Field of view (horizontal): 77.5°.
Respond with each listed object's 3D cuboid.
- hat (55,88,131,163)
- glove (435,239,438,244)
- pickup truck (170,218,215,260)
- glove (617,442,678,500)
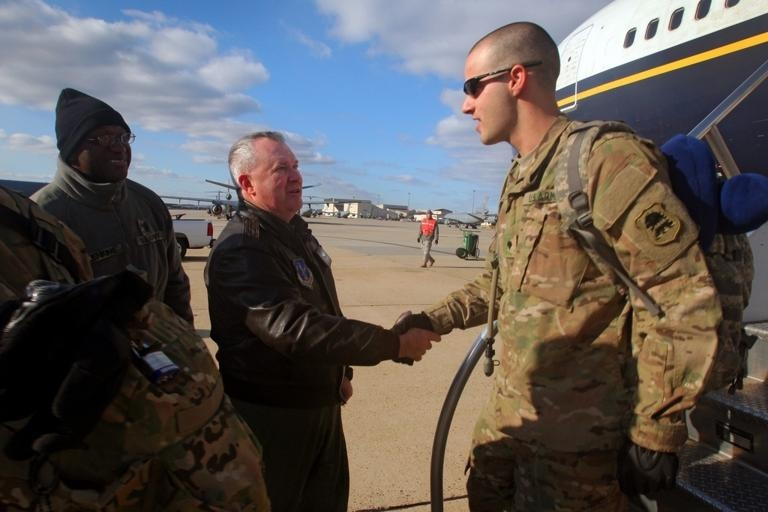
[{"bbox_3d":[-1.810,-0.794,2.927,0.402,0.447,0.278,3,13,10],"label":"hat"},{"bbox_3d":[1.569,-0.415,14.474,0.036,0.140,0.104,1,7,36],"label":"glove"},{"bbox_3d":[-5.290,-0.560,13.930,1.141,1.006,2.130,-3,1,-15],"label":"pickup truck"},{"bbox_3d":[1.093,0.902,1.995,0.210,0.222,0.104,6,15,24],"label":"glove"}]
